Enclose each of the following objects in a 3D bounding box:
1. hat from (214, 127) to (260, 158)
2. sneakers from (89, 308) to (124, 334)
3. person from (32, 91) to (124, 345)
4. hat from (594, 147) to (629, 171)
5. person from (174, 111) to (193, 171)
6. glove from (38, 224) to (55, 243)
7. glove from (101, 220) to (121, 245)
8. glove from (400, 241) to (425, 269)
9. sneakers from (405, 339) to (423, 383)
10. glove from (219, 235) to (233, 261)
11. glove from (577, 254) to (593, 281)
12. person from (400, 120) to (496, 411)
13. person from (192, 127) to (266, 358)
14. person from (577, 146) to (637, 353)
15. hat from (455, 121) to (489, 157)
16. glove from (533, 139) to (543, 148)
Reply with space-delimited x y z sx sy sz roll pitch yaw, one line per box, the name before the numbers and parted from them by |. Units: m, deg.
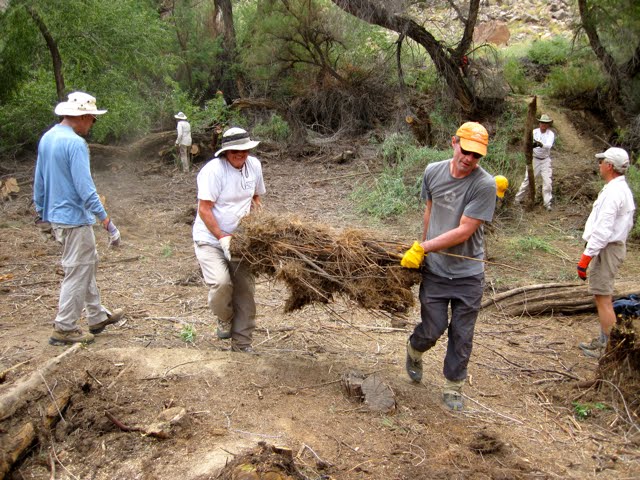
hat | -0.914 -1.153 7.364 0.388 0.225 0.408 -11 10 -32
sneakers | -2.707 1.041 8.168 0.170 0.217 0.465 10 34 37
person | -2.961 -0.262 7.761 0.887 2.984 0.950 -6 15 -24
hat | 3.812 -1.059 8.287 0.280 0.245 0.405 -15 41 -33
person | -3.878 -2.815 18.233 0.473 1.648 1.221 -3 14 -12
glove | -5.164 -0.147 12.086 0.166 0.390 0.437 -5 47 -33
glove | -3.158 -0.099 9.584 0.154 0.466 0.185 -7 13 1
glove | 1.023 0.143 7.047 0.124 0.257 0.281 35 12 -12
sneakers | 1.094 1.396 7.413 0.159 0.508 0.208 -4 6 1
glove | -1.059 0.091 7.277 0.199 0.232 0.228 -3 15 -9
glove | 3.582 0.380 8.587 0.104 0.368 0.267 25 -12 4
person | 1.437 0.277 7.090 0.923 3.104 0.701 3 14 15
person | -1.082 0.046 7.515 0.777 2.676 0.722 -2 14 -9
person | 3.715 0.187 8.299 0.575 2.691 0.752 6 15 25
hat | 1.639 -1.116 6.887 0.288 0.250 0.416 17 23 -18
glove | 4.646 -2.043 13.636 0.076 0.172 0.293 -12 19 -25
